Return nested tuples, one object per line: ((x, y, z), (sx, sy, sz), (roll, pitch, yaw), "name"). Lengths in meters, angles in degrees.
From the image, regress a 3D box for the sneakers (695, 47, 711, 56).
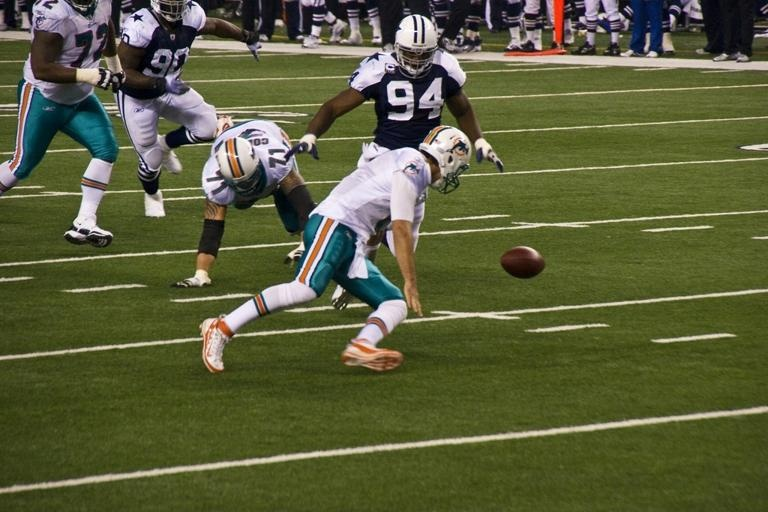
((6.279, -3.999, 17.823), (0.310, 0.122, 0.110), (5, 43, -1), "sneakers")

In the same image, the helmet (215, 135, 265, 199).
((-0.803, -0.519, 5.291), (0.266, 0.346, 0.298), (-28, 0, 4), "helmet")

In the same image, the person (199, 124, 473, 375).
((-0.257, -0.045, 4.844), (1.599, 1.296, 0.726), (2, -5, -33), "person")

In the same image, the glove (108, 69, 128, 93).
((-1.941, -1.266, 6.640), (0.133, 0.152, 0.094), (-1, 31, -7), "glove")

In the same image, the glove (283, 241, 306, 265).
((-0.603, -0.017, 6.144), (0.095, 0.065, 0.197), (20, -32, -13), "glove")

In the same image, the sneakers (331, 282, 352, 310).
((-0.255, 0.240, 5.498), (0.124, 0.175, 0.162), (1, 23, -2), "sneakers")

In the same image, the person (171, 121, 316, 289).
((-0.891, -0.427, 6.108), (0.945, 0.749, 1.698), (-8, 10, -3), "person")

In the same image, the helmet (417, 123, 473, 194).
((0.350, -0.575, 5.038), (0.319, 0.286, 0.231), (4, 17, -29), "helmet")

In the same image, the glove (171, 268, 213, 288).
((-1.255, 0.142, 5.902), (0.283, 0.114, 0.093), (-2, 19, -15), "glove")

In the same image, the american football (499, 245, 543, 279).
((0.906, 0.044, 5.828), (0.329, 0.173, 0.315), (0, 4, -32), "american football")

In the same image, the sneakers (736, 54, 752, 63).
((6.553, -3.568, 16.432), (0.237, 0.164, 0.126), (3, 9, 3), "sneakers")

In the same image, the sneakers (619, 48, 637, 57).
((4.909, -3.984, 17.905), (0.423, 0.148, 0.137), (5, 17, 18), "sneakers")

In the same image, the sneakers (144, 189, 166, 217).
((-1.929, -0.434, 7.612), (0.147, 0.231, 0.102), (-3, -7, -9), "sneakers")

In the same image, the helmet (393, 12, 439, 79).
((0.178, -1.255, 5.416), (0.294, 0.287, 0.342), (0, 54, -3), "helmet")

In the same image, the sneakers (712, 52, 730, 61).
((6.193, -3.615, 16.574), (0.301, 0.181, 0.242), (2, 9, -5), "sneakers")

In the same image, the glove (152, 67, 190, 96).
((-1.624, -1.297, 6.887), (0.206, 0.085, 0.205), (29, 55, 28), "glove")

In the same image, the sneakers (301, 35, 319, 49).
((-1.570, -4.643, 19.867), (0.307, 0.207, 0.520), (-1, 13, 0), "sneakers")

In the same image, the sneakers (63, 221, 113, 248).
((-2.122, -0.153, 6.610), (0.396, 0.175, 0.156), (2, 17, -8), "sneakers")

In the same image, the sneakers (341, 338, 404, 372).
((-0.052, 0.498, 4.603), (0.310, 0.132, 0.130), (9, 30, -7), "sneakers")

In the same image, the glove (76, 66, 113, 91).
((-2.035, -1.254, 6.415), (0.228, 0.081, 0.137), (6, 1, 13), "glove")
